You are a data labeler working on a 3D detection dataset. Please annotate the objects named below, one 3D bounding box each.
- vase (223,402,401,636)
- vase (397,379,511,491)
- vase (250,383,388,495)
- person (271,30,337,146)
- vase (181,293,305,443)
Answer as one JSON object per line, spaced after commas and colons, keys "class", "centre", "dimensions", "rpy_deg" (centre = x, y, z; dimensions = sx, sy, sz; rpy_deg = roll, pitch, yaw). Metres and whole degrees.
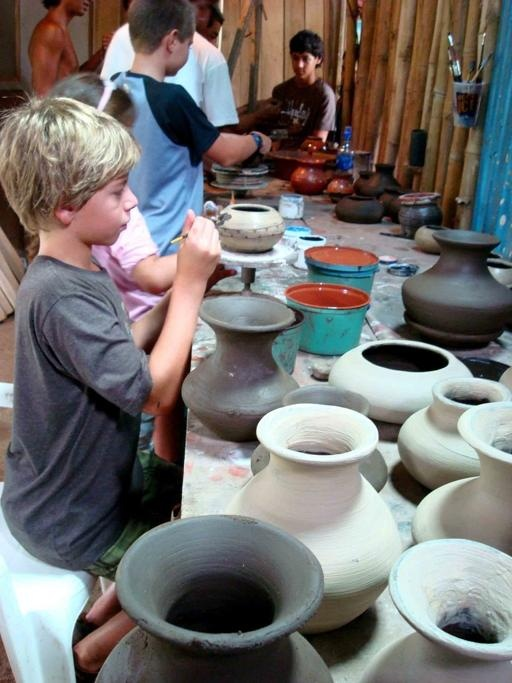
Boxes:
{"class": "vase", "centre": [0.076, 0.281, 0.840], "dimensions": [0.264, 0.276, 0.250], "rpy_deg": [1, 6, -31]}
{"class": "vase", "centre": [0.365, 0.153, 1.131], "dimensions": [0.229, 0.200, 0.220], "rpy_deg": [9, 22, 25]}
{"class": "vase", "centre": [0.140, 0.141, 1.096], "dimensions": [0.238, 0.149, 0.223], "rpy_deg": [4, 18, 19]}
{"class": "person", "centre": [0.478, -2.515, 5.354], "dimensions": [0.586, 0.929, 0.719], "rpy_deg": [4, 22, 0]}
{"class": "vase", "centre": [-0.031, 0.056, 1.333], "dimensions": [0.300, 0.288, 0.302], "rpy_deg": [-7, 26, -24]}
